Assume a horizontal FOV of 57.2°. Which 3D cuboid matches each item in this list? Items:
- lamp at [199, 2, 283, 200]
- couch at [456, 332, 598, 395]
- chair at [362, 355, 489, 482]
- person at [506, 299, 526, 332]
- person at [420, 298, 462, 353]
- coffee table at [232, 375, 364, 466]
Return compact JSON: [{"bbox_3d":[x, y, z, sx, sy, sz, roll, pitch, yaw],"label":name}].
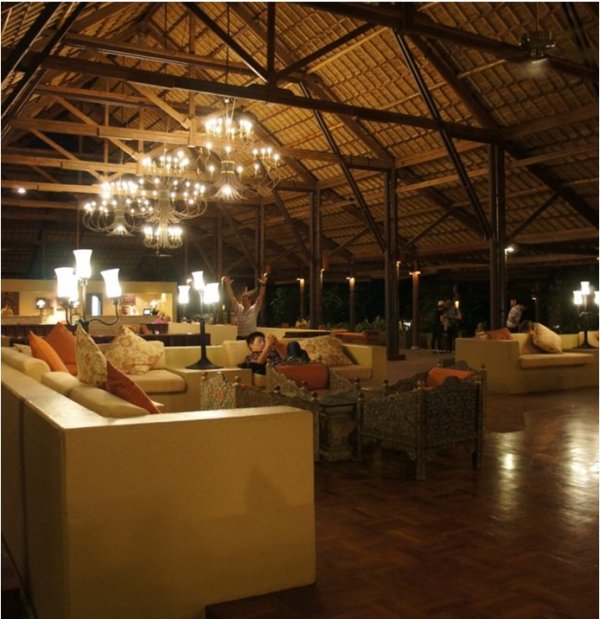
[{"bbox_3d":[-1.065,-2.805,8.357,1.040,2.016,1.084,7,23,13],"label":"lamp"},{"bbox_3d":[3.133,0.751,7.533,1.868,0.754,0.683,0,-2,-15],"label":"couch"},{"bbox_3d":[0.849,0.780,3.981,0.623,0.663,0.798,0,-3,-30],"label":"chair"},{"bbox_3d":[4.658,0.116,11.833,0.295,0.826,0.578,16,1,25],"label":"person"},{"bbox_3d":[4.099,0.485,16.108,0.836,2.029,1.468,3,-4,-13],"label":"person"},{"bbox_3d":[0.000,0.775,4.196,0.699,0.441,0.713,1,-2,-20],"label":"coffee table"}]
